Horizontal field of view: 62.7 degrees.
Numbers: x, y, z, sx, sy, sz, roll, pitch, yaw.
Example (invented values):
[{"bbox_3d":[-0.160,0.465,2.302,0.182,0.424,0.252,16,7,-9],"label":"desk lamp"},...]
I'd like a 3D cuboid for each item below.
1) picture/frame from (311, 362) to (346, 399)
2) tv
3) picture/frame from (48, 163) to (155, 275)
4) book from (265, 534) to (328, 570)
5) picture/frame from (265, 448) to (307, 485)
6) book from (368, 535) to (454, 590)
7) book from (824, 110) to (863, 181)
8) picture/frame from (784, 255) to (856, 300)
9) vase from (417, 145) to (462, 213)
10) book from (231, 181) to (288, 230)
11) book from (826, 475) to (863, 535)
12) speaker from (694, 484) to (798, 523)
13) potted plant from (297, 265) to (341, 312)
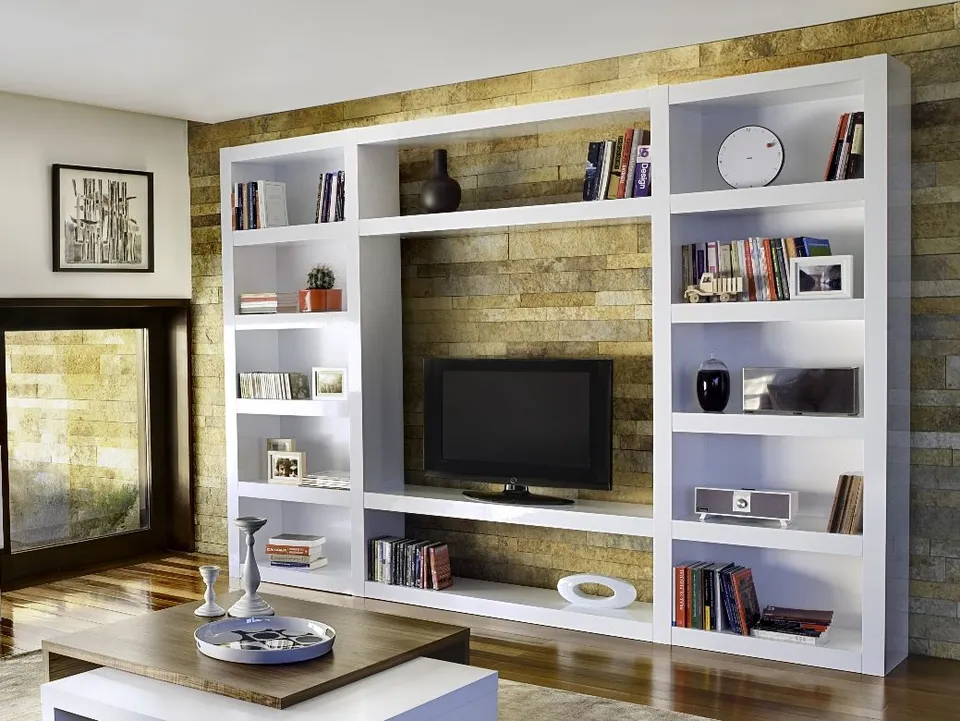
[{"bbox_3d":[-1.048,0.149,5.506,0.261,0.212,0.020,1,1,33],"label":"picture/frame"},{"bbox_3d":[0.281,0.433,4.911,0.960,0.634,0.269,0,-2,30],"label":"tv"},{"bbox_3d":[-2.830,-1.045,5.829,0.068,0.876,0.935,0,0,44],"label":"picture/frame"},{"bbox_3d":[-1.280,1.338,5.556,0.335,0.162,0.237,-2,-1,30],"label":"book"},{"bbox_3d":[-1.385,0.762,5.659,0.255,0.185,0.036,1,-1,31],"label":"picture/frame"},{"bbox_3d":[-0.444,1.315,5.085,0.444,0.226,0.295,2,-1,32],"label":"book"},{"bbox_3d":[1.845,-1.082,3.968,0.073,0.298,0.302,3,5,-10],"label":"book"},{"bbox_3d":[1.718,-0.416,3.974,0.245,0.176,0.029,2,1,27],"label":"picture/frame"},{"bbox_3d":[-0.249,-1.163,5.158,0.288,0.398,0.283,-11,14,-43],"label":"vase"},{"bbox_3d":[-1.559,-1.067,5.836,0.477,0.454,0.345,-1,4,0],"label":"book"},{"bbox_3d":[1.849,0.723,3.975,0.061,0.248,0.248,4,-3,6],"label":"book"},{"bbox_3d":[1.421,0.775,4.230,0.500,0.182,0.128,0,5,26],"label":"speaker"},{"bbox_3d":[-1.095,-0.478,5.449,0.311,0.320,0.315,0,0,-32],"label":"potted plant"}]
